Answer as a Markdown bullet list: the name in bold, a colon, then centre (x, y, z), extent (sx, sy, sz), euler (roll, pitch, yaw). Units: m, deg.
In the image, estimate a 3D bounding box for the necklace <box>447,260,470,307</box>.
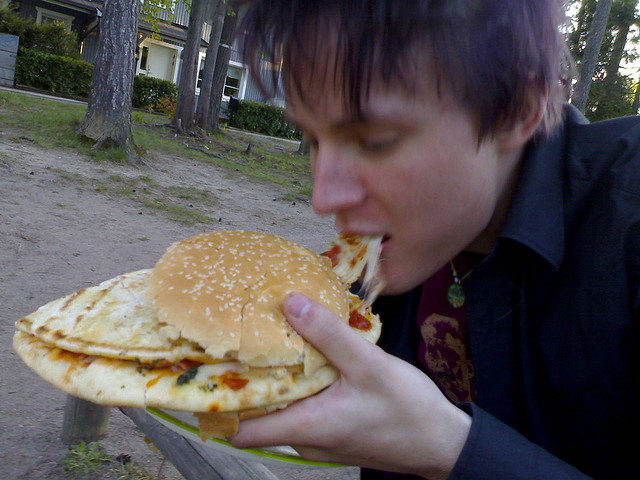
- **necklace**: centre (0.794, 0.233, 2.705), extent (0.133, 0.286, 0.129), euler (7, 1, 11)
